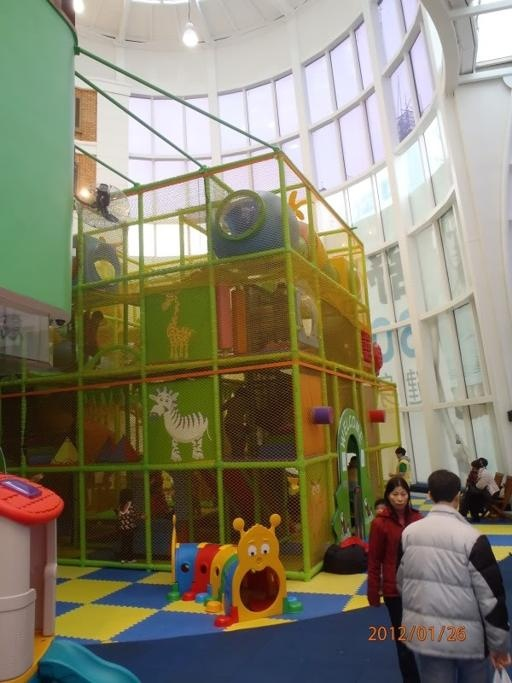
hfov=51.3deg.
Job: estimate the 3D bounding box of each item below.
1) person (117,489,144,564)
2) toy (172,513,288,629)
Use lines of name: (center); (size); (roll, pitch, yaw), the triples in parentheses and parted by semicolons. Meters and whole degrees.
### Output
person: (-1.533, 2.195, 6.417); (0.315, 0.825, 0.192); (-4, -12, 6)
toy: (-0.207, 1.912, 4.743); (0.762, 0.777, 1.183); (3, -12, -26)
